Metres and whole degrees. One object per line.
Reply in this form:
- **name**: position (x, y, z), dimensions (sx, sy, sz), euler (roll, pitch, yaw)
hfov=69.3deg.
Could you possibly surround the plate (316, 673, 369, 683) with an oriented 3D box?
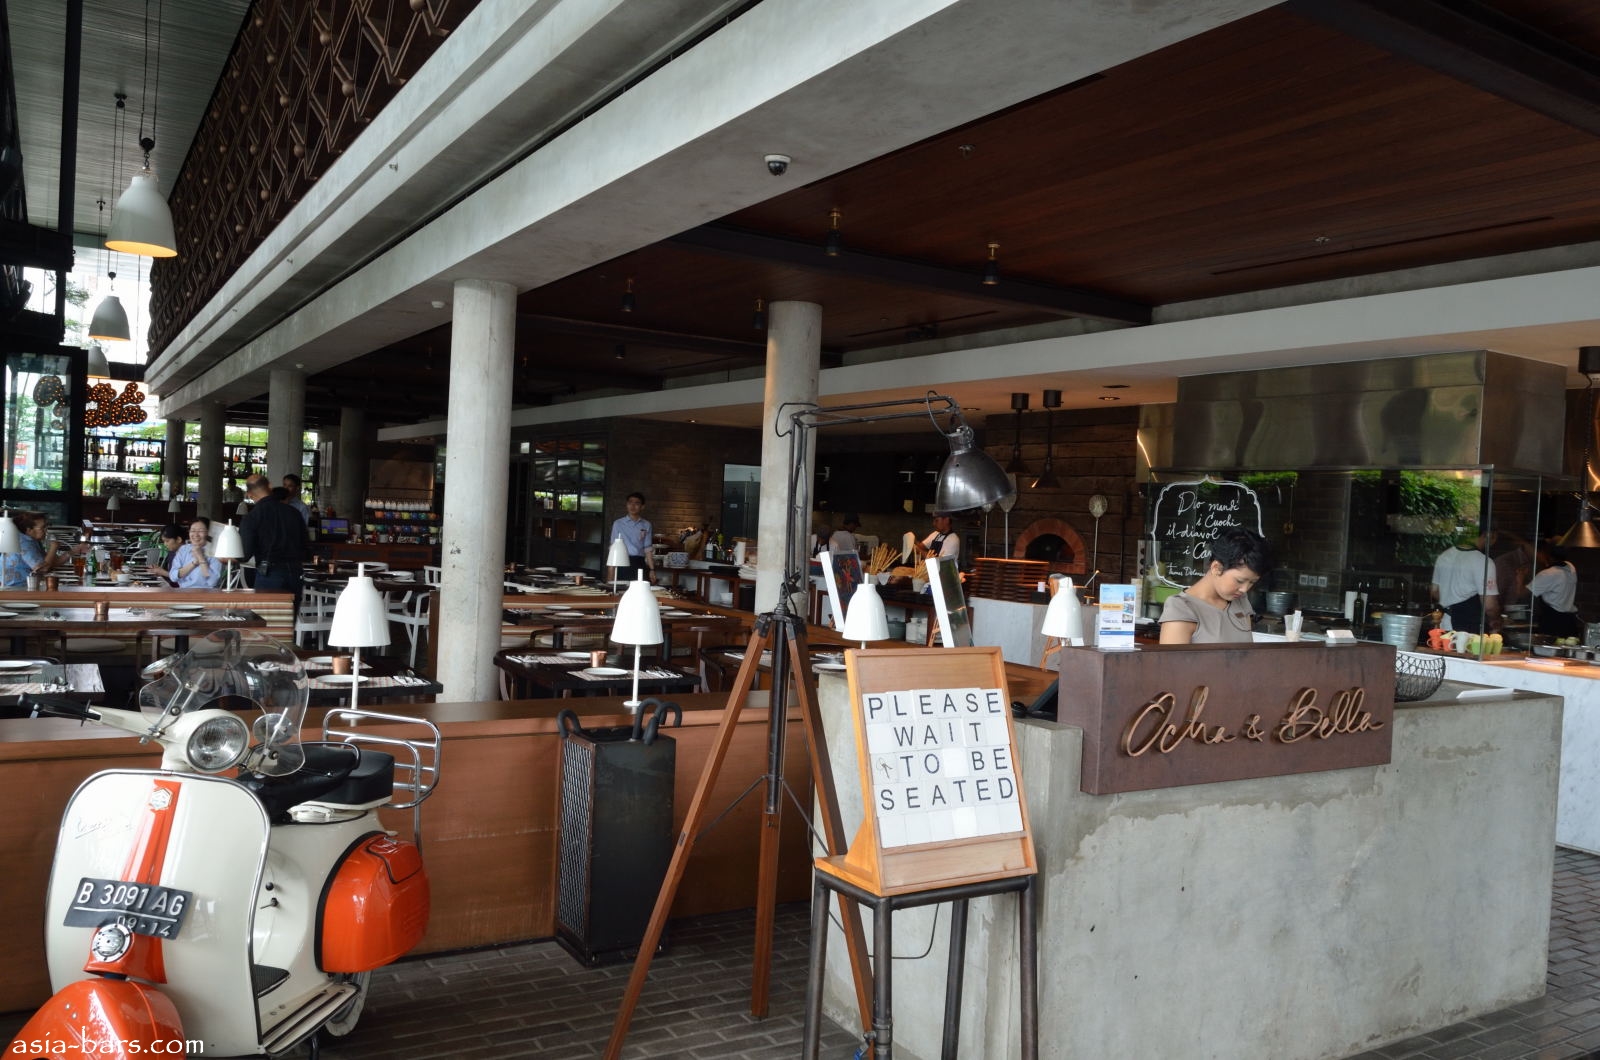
- **plate**: position (-2.616, 0.826, 6.562), dimensions (0.189, 0.030, 0.184), euler (0, -3, 21)

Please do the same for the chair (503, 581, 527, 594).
- **chair**: position (-3.275, 0.633, 13.307), dimensions (0.283, 0.148, 1.260), euler (2, -2, -13)

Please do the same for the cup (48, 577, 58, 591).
- **cup**: position (-6.513, 0.454, 10.046), dimensions (0.107, 0.109, 0.102), euler (0, -3, 0)

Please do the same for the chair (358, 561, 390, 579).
- **chair**: position (-4.234, 0.381, 11.444), dimensions (0.250, 0.102, 0.239), euler (0, 4, -28)

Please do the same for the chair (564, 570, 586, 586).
- **chair**: position (-2.735, 0.576, 13.921), dimensions (0.230, 0.115, 0.307), euler (0, 4, -18)

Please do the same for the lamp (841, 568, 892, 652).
- **lamp**: position (0.278, 0.378, 5.765), dimensions (0.305, 0.312, 0.301), euler (1, -3, -5)

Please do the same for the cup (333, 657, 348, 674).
- **cup**: position (-2.695, 0.784, 6.794), dimensions (0.116, 0.100, 0.087), euler (2, -1, -6)

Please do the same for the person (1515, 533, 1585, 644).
- **person**: position (6.666, 0.507, 10.246), dimensions (0.278, 0.858, 3.031), euler (0, -2, 35)

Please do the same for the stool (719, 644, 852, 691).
- **stool**: position (-0.064, 0.703, 6.034), dimensions (0.549, 0.171, 0.785), euler (0, 1, -32)

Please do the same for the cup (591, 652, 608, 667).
- **cup**: position (-1.292, 0.807, 7.378), dimensions (0.075, 0.063, 0.089), euler (0, -3, -1)

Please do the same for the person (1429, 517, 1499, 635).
- **person**: position (5.134, 0.370, 8.980), dimensions (0.437, 0.819, 0.202), euler (1, -1, 24)

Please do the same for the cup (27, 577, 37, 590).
- **cup**: position (-6.578, 0.442, 9.880), dimensions (0.082, 0.113, 0.103), euler (2, 0, 7)
